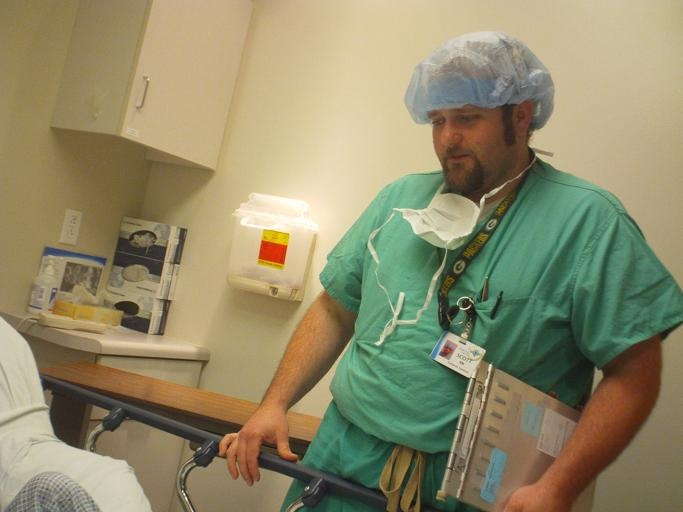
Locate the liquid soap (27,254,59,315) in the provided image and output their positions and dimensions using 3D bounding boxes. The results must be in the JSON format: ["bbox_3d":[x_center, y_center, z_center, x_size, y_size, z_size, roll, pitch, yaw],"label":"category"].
[{"bbox_3d":[-1.374,0.129,2.409,0.116,0.257,0.118,9,1,-37],"label":"liquid soap"}]

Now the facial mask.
[{"bbox_3d":[0.283,-0.098,1.388,0.169,0.082,0.157,-31,36,-28],"label":"facial mask"}]

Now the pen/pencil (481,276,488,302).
[{"bbox_3d":[0.367,0.083,1.304,0.016,0.064,0.018,10,1,-6],"label":"pen/pencil"}]

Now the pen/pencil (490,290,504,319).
[{"bbox_3d":[0.389,0.121,1.283,0.016,0.095,0.016,20,-4,15],"label":"pen/pencil"}]
